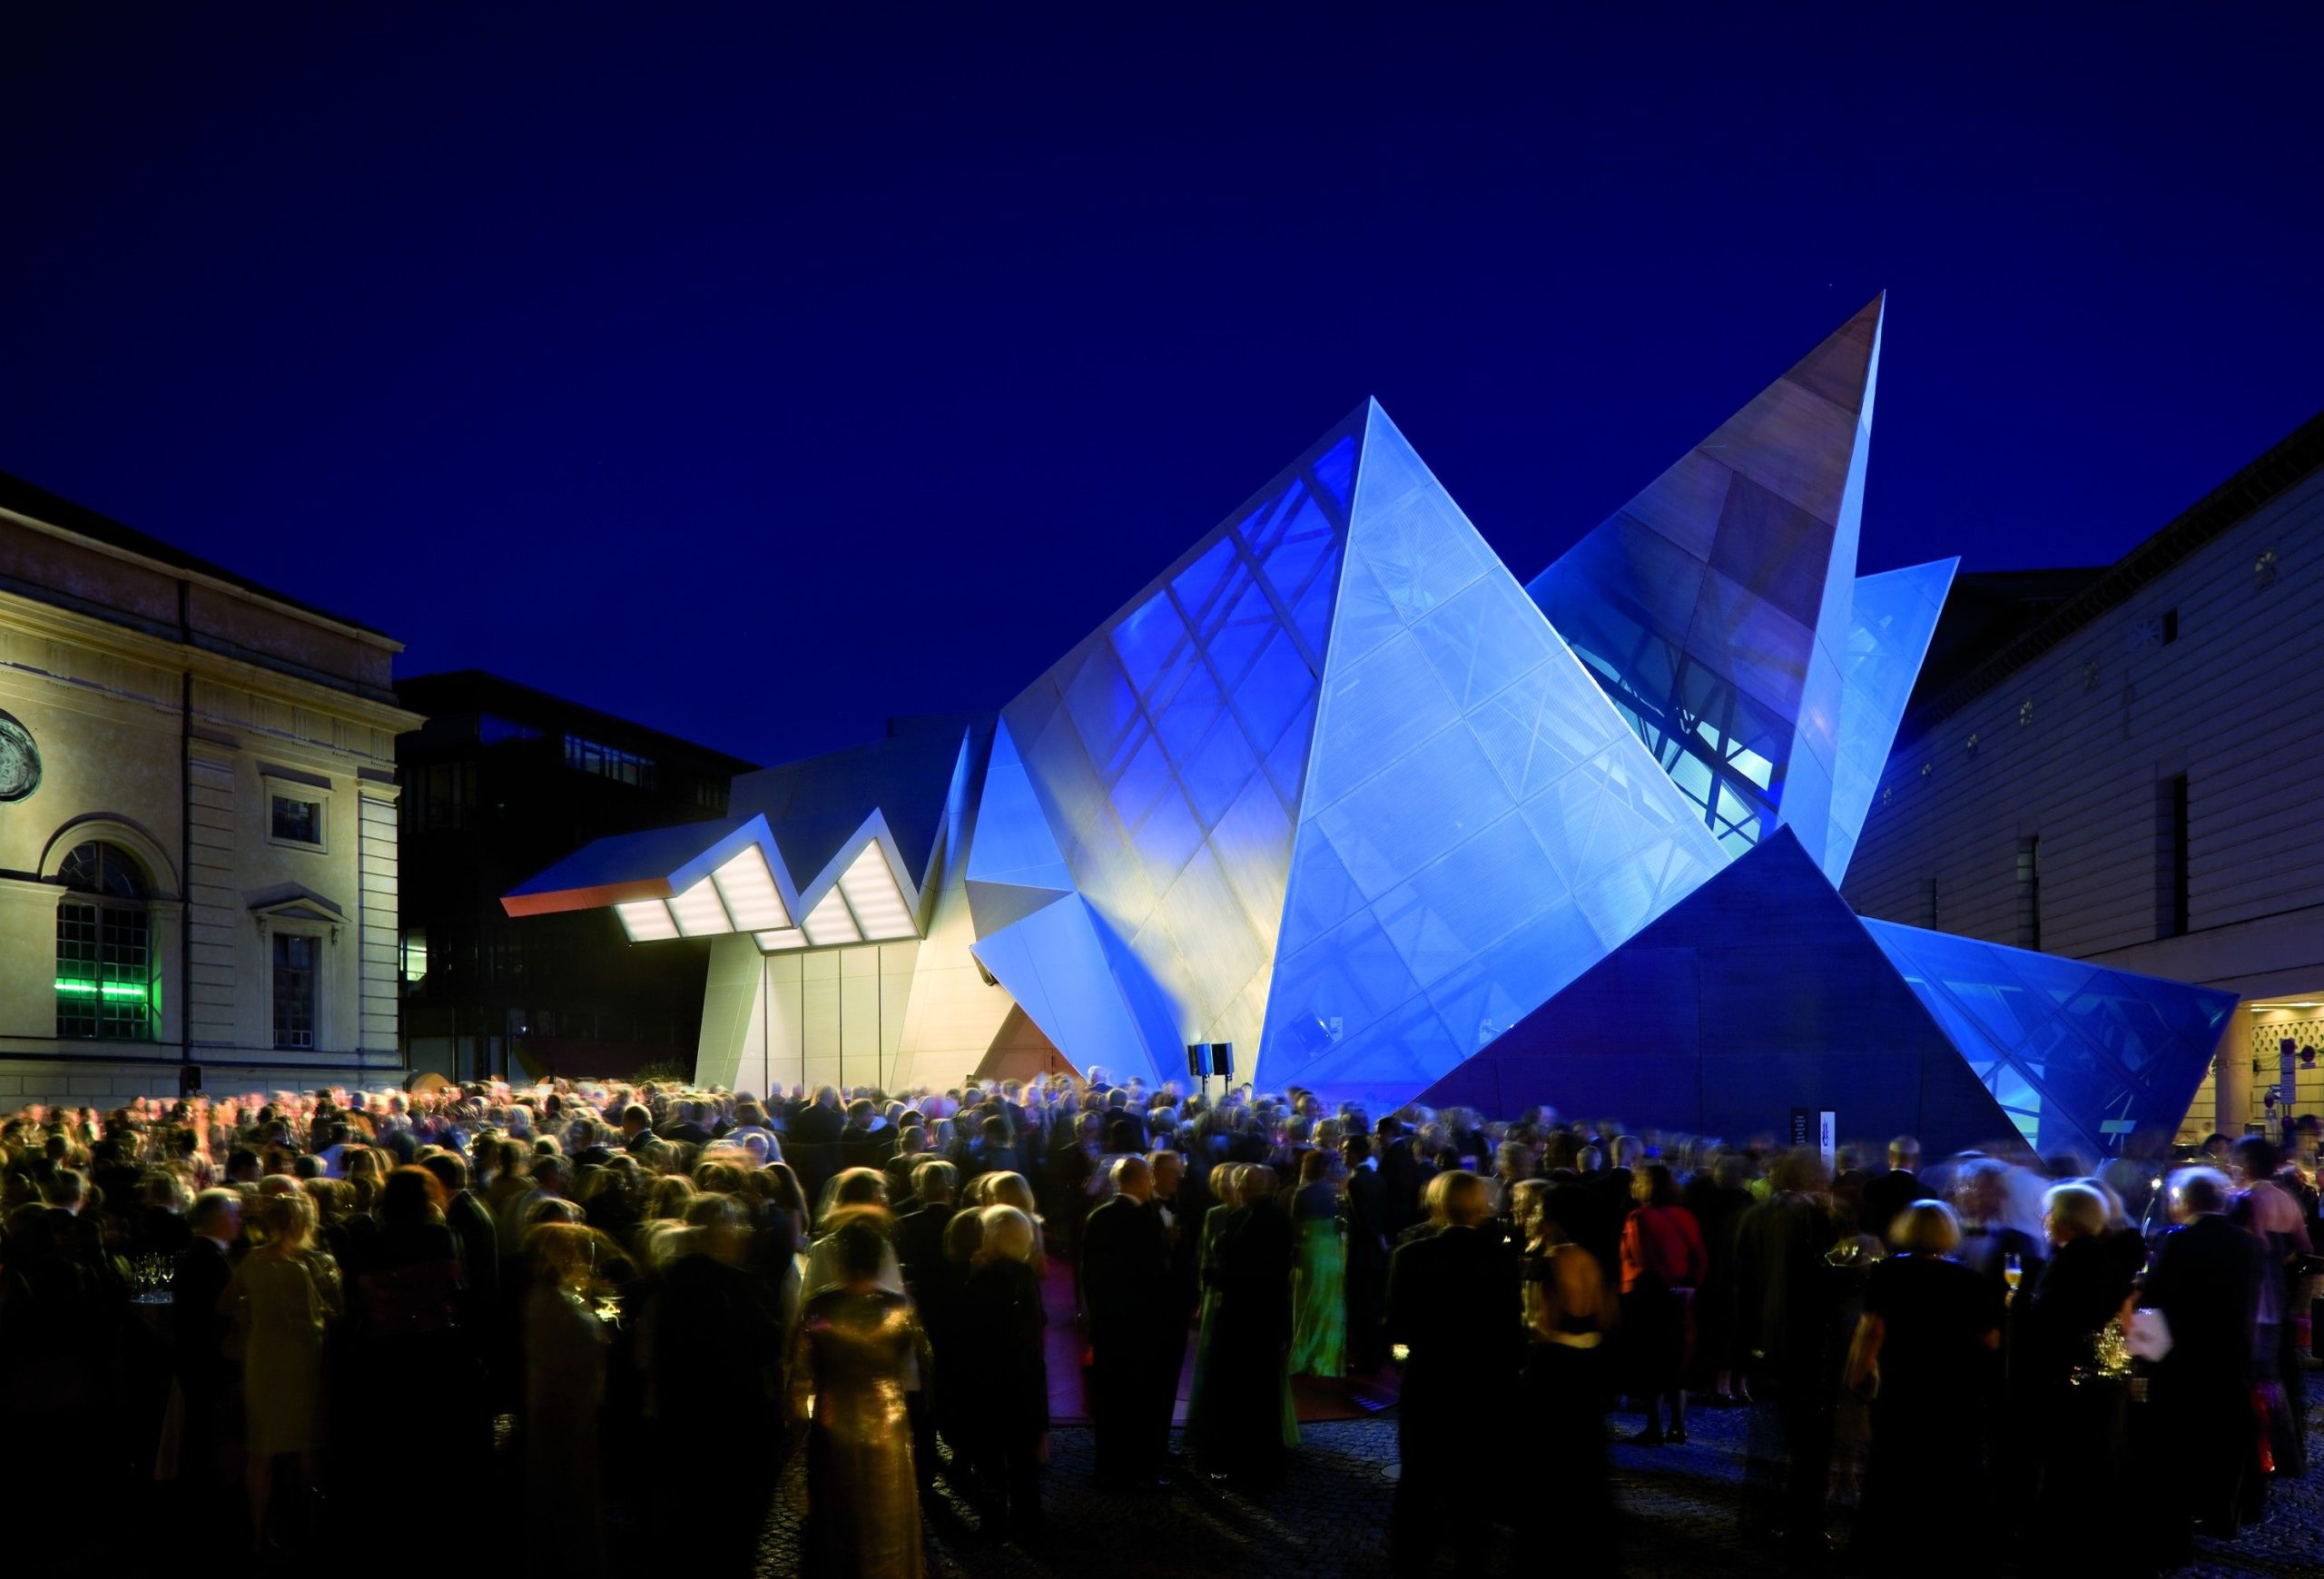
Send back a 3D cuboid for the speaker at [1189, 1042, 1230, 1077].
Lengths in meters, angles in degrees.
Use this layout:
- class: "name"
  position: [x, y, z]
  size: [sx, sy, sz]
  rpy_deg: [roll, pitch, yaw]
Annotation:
- class: "speaker"
  position: [0.577, 3.764, 25.195]
  size: [0.597, 0.666, 0.665]
  rpy_deg: [-3, -7, 8]
